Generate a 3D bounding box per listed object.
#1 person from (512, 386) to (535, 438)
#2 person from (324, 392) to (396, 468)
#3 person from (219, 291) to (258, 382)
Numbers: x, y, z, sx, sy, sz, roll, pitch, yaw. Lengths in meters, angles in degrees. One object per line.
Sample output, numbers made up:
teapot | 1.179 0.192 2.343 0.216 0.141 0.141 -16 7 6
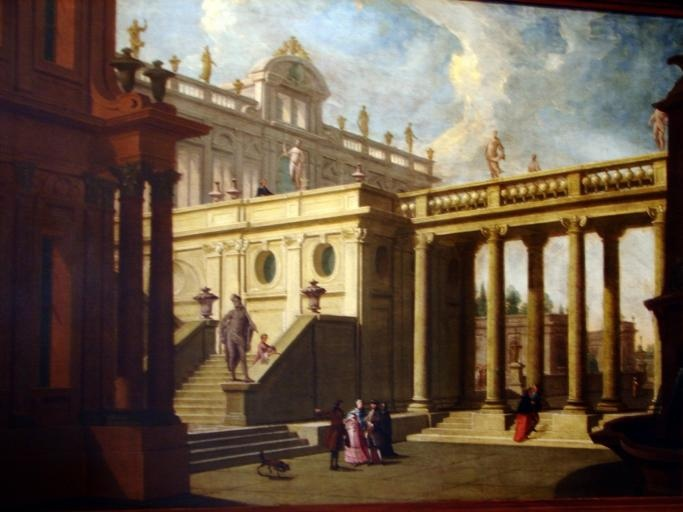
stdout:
person | 4.187 3.683 25.620 0.441 1.211 0.998 -5 -9 28
person | 0.592 3.638 23.189 1.669 1.508 1.140 4 -11 -31
person | -2.397 1.892 25.187 0.801 1.945 1.355 0 -8 -6
